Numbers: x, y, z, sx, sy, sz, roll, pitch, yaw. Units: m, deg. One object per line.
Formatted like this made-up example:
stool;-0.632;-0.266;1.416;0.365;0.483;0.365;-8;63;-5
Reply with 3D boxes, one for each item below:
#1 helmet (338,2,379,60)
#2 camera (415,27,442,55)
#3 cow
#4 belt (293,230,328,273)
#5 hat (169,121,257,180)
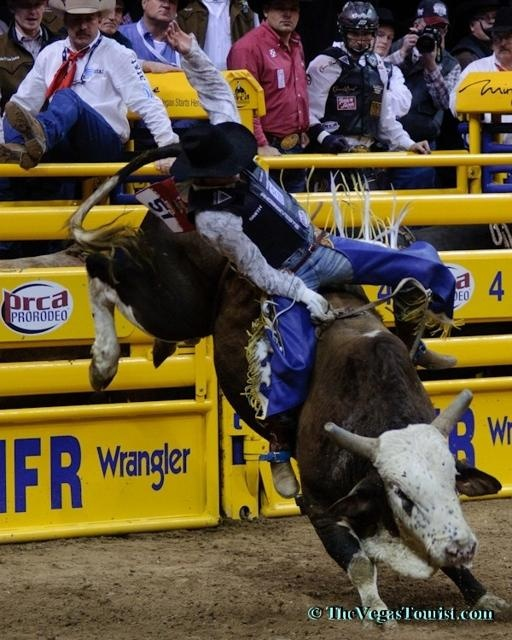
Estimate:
helmet;0.697;-1.988;6.585;0.321;0.352;0.349;-2;46;-2
camera;1.310;-2.135;7.325;0.150;0.179;0.215;-4;10;-2
cow;0.221;0.203;4.002;0.846;1.898;2.034;-7;10;-40
belt;0.241;-0.302;4.167;0.207;0.051;0.131;-39;0;-18
hat;-0.175;-0.694;3.898;0.353;0.244;0.304;-1;7;-3
